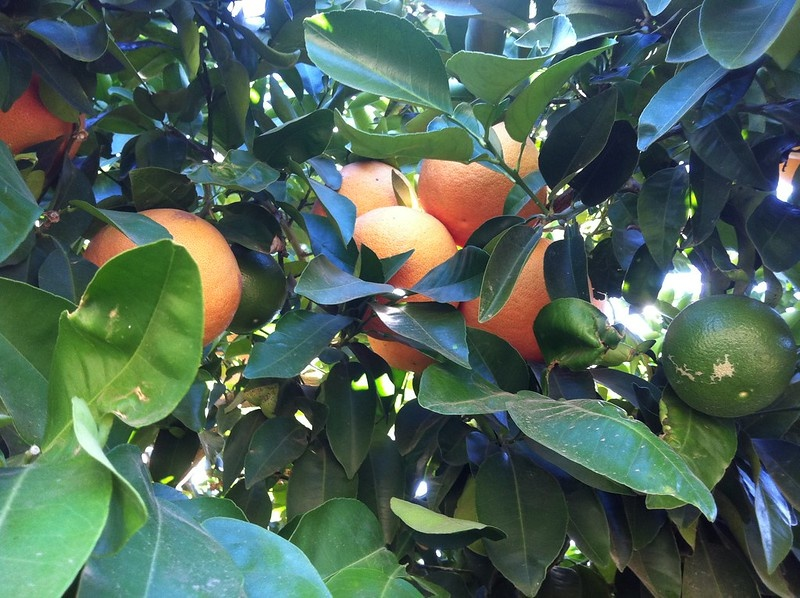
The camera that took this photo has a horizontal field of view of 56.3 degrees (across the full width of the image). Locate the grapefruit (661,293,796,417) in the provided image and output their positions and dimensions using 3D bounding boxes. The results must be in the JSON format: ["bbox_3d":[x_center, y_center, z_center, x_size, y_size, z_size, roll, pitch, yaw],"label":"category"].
[{"bbox_3d":[0.515,0.105,1.275,0.199,0.196,0.193,2,41,4],"label":"grapefruit"}]
